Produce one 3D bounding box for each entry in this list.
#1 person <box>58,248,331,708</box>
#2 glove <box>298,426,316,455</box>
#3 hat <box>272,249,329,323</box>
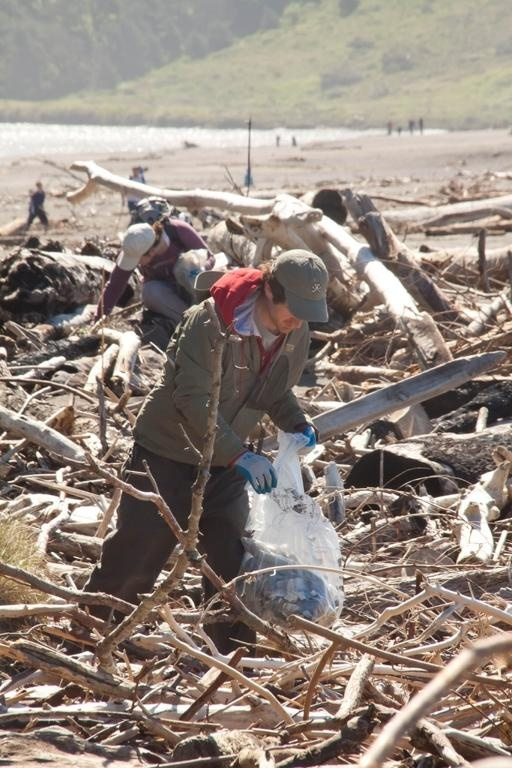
[{"bbox_3d":[-0.106,0.235,3.210,0.797,1.479,0.737,12,23,33],"label":"person"},{"bbox_3d":[0.210,0.221,3.371,0.060,0.059,0.104,-3,-7,-5],"label":"glove"},{"bbox_3d":[0.148,-0.326,2.917,0.194,0.242,0.325,0,17,3],"label":"hat"}]
